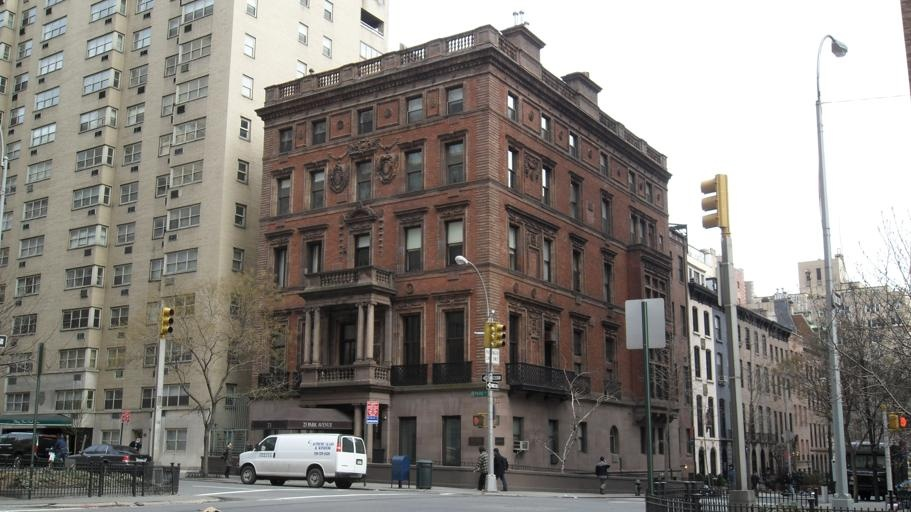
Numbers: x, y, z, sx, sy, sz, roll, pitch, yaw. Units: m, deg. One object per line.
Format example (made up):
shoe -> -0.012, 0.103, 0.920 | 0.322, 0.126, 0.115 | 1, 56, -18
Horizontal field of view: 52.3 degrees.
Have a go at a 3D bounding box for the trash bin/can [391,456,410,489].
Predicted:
trash bin/can -> -4.301, 16.466, 70.849 | 1.184, 2.549, 1.246 | 2, -22, -8

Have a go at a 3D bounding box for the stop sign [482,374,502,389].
stop sign -> 2.764, 9.629, 71.771 | 1.186, 1.263, 1.246 | 5, -22, -15

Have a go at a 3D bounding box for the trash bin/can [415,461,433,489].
trash bin/can -> -2.474, 16.518, 69.897 | 1.025, 2.253, 1.082 | 3, -22, -9

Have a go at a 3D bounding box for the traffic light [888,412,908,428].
traffic light -> 29.876, 11.167, 63.073 | 1.101, 1.141, 1.621 | -16, -25, 33
